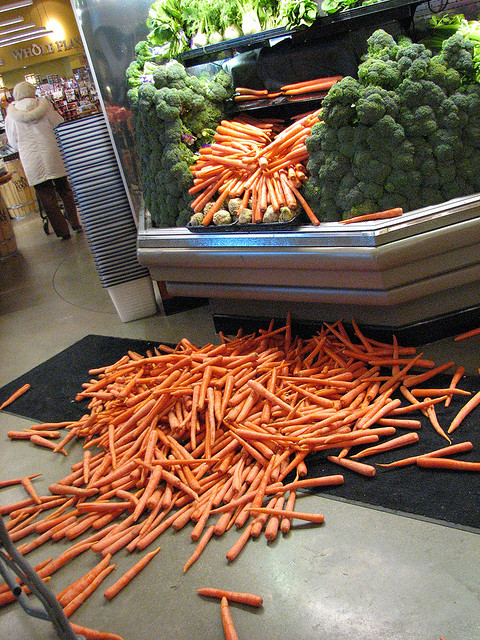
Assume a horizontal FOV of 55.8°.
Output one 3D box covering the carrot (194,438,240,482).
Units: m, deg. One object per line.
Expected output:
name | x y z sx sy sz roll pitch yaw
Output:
carrot | -0.076 0.468 1.505 0.166 0.029 0.023 -42 35 -11

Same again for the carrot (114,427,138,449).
carrot | -0.433 0.446 1.715 0.089 0.019 0.023 -33 46 -19

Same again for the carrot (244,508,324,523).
carrot | 0.123 0.547 1.273 0.226 0.037 0.033 4 48 5

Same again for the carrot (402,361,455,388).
carrot | 0.716 0.207 1.722 0.165 0.025 0.032 -24 33 -22

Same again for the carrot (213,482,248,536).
carrot | -0.009 0.546 1.375 0.039 0.038 0.205 36 46 5

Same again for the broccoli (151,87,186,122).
broccoli | -0.369 -1.140 2.396 0.180 0.165 0.109 -14 23 -3

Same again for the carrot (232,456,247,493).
carrot | -0.003 0.480 1.429 0.021 0.023 0.094 11 29 8

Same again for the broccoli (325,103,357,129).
broccoli | 0.410 -0.827 1.861 0.082 0.098 0.051 27 25 11

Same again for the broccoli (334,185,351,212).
broccoli | 0.434 -0.523 1.935 0.038 0.099 0.082 -2 61 2

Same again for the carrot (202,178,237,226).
carrot | -0.102 -0.596 2.293 0.350 0.050 0.049 -50 24 -19

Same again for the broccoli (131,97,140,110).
broccoli | -0.589 -1.208 2.525 0.045 0.055 0.022 6 21 41

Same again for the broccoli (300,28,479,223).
broccoli | 0.690 -0.763 2.054 0.626 0.792 0.399 -35 -15 13

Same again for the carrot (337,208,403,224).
carrot | 0.513 -0.416 1.812 0.255 0.042 0.040 4 28 33

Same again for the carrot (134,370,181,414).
carrot | -0.335 0.296 1.843 0.031 0.031 0.215 41 58 8

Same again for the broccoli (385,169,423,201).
broccoli | 0.665 -0.551 1.826 0.120 0.122 0.035 -6 19 -2

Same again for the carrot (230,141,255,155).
carrot | 0.013 -0.896 2.363 0.148 0.037 0.030 37 17 24

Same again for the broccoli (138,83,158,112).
broccoli | -0.496 -1.191 2.449 0.104 0.139 0.065 27 47 31

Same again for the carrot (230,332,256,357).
carrot | 0.013 0.117 2.167 0.022 0.023 0.153 -3 31 44

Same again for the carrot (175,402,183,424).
carrot | -0.238 0.352 1.757 0.020 0.020 0.115 -23 40 16

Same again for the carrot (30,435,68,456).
carrot | -0.819 0.537 1.940 0.154 0.031 0.028 23 10 19

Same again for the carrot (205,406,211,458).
carrot | -0.114 0.396 1.566 0.019 0.142 0.016 -2 -13 2

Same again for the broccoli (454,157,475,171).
broccoli | 0.892 -0.620 1.801 0.067 0.046 0.016 12 15 -5

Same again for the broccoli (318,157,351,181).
broccoli | 0.392 -0.638 1.941 0.100 0.099 0.033 36 24 16

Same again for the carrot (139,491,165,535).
carrot | -0.257 0.590 1.415 0.025 0.020 0.178 28 42 5

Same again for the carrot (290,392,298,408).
carrot | 0.195 0.290 1.659 0.009 0.010 0.065 20 46 11

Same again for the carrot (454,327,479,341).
carrot | 0.970 0.058 1.932 0.100 0.020 0.015 -22 31 1

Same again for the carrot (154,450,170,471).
carrot | -0.272 0.481 1.564 0.037 0.035 0.114 -19 25 -16

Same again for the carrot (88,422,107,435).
carrot | -0.592 0.448 1.877 0.068 0.018 0.013 -42 38 -3

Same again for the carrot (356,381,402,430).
carrot | 0.480 0.302 1.578 0.027 0.021 0.198 17 48 40

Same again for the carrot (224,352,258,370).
carrot | 0.003 0.174 1.932 0.150 0.052 0.045 -18 24 -12

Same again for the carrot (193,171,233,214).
carrot | -0.135 -0.661 2.331 0.305 0.060 0.050 -48 -12 4

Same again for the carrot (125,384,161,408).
carrot | -0.401 0.311 1.854 0.141 0.033 0.031 -33 1 -18

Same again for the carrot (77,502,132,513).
carrot | -0.429 0.591 1.434 0.185 0.036 0.038 -1 55 -1

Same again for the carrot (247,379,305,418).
carrot | 0.131 0.290 1.658 0.182 0.026 0.025 38 10 16

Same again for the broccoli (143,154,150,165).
broccoli | -0.549 -0.940 2.643 0.016 0.058 0.067 -23 26 -22

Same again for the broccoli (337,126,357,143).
broccoli | 0.438 -0.763 1.875 0.066 0.056 0.038 -17 22 43

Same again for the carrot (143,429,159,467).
carrot | -0.314 0.443 1.582 0.028 0.027 0.128 1 58 2

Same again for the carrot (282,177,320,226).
carrot | 0.277 -0.532 2.058 0.031 0.291 0.030 -13 -21 -42

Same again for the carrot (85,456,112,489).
carrot | -0.492 0.527 1.600 0.027 0.031 0.164 -16 35 49

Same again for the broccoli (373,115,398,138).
broccoli | 0.566 -0.755 1.763 0.066 0.039 0.080 -24 38 -2

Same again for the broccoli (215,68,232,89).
broccoli | -0.084 -1.387 2.609 0.098 0.097 0.040 -36 -3 -34

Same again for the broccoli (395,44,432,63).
broccoli | 0.682 -1.053 1.780 0.109 0.046 0.084 -37 47 -25

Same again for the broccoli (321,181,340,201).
broccoli | 0.388 -0.563 1.987 0.044 0.080 0.062 21 8 37

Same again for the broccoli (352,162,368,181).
broccoli | 0.488 -0.612 1.883 0.025 0.075 0.059 -36 15 5
